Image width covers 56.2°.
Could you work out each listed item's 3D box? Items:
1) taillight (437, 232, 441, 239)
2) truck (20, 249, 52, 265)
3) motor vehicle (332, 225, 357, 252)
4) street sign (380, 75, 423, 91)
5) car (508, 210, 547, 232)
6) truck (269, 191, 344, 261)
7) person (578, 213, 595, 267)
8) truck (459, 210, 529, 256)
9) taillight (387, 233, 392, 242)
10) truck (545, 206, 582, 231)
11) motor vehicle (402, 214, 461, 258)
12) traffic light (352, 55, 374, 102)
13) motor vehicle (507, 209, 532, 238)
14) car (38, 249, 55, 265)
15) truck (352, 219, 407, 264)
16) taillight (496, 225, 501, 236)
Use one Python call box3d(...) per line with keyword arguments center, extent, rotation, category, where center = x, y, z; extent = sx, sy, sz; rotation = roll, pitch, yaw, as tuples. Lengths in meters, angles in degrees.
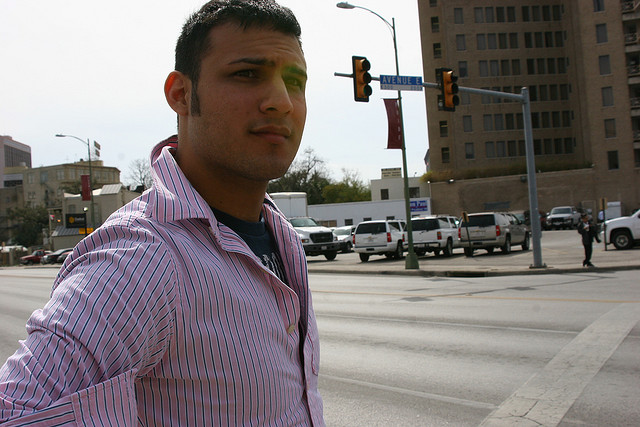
box3d(center=(5.516, 1.002, 27.204), extent=(0.060, 0.290, 0.205), rotation=(-3, -1, 44), category="taillight")
box3d(center=(-29.546, 4.607, 62.761), extent=(3.239, 1.597, 1.881), rotation=(3, -6, -40), category="truck")
box3d(center=(1.672, 1.533, 37.657), extent=(0.905, 0.966, 1.909), rotation=(-3, -6, 16), category="motor vehicle")
box3d(center=(2.216, -3.417, 15.719), extent=(1.310, 0.444, 0.444), rotation=(-3, -1, -32), category="street sign")
box3d(center=(10.900, 0.398, 31.171), extent=(2.659, 1.159, 1.310), rotation=(4, -6, -32), category="car")
box3d(center=(-1.685, 0.933, 32.677), extent=(2.403, 3.921, 7.021), rotation=(-7, -3, -31), category="truck")
box3d(center=(8.199, 0.775, 18.192), extent=(0.470, 1.663, 2.417), rotation=(-3, -1, 24), category="person")
box3d(center=(8.139, 0.795, 27.548), extent=(1.958, 1.624, 4.193), rotation=(-1, 3, 32), category="truck")
box3d(center=(3.257, 1.096, 27.423), extent=(0.222, 0.403, 0.078), rotation=(-3, 0, -42), category="taillight")
box3d(center=(18.510, 0.385, 45.106), extent=(2.398, 1.870, 1.944), rotation=(-4, -1, 23), category="truck")
box3d(center=(5.644, 1.041, 28.682), extent=(1.596, 1.490, 3.533), rotation=(-1, 5, 24), category="motor vehicle")
box3d(center=(1.058, -3.207, 14.358), extent=(0.443, 1.107, 0.474), rotation=(-3, 0, 3), category="traffic light")
box3d(center=(10.706, 0.553, 31.651), extent=(1.356, 1.387, 2.490), rotation=(-5, -9, 41), category="motor vehicle")
box3d(center=(-28.308, 4.311, 61.310), extent=(1.581, 1.462, 2.783), rotation=(1, -12, -15), category="car")
box3d(center=(3.076, 1.173, 28.498), extent=(1.431, 1.156, 2.764), rotation=(-2, 3, 21), category="truck")
box3d(center=(7.789, 0.720, 25.753), extent=(0.106, 0.469, 0.351), rotation=(-3, -1, 36), category="taillight")
